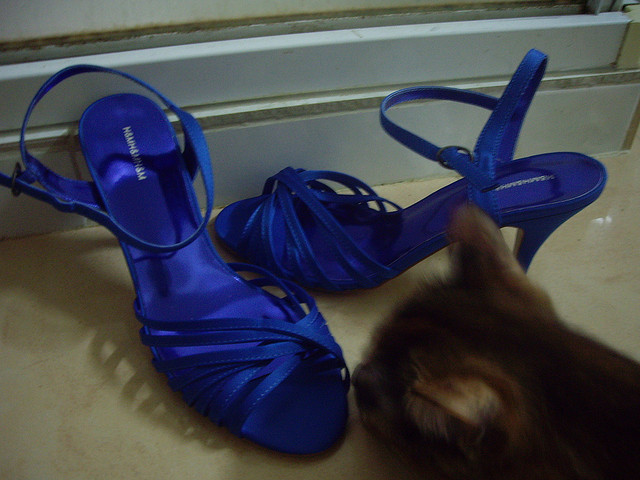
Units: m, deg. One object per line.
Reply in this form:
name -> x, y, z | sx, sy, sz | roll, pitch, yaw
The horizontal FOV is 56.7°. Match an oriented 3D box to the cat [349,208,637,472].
cat -> 0.251, 0.169, 0.790 | 0.354, 0.158, 0.340 | 30, 53, 27
